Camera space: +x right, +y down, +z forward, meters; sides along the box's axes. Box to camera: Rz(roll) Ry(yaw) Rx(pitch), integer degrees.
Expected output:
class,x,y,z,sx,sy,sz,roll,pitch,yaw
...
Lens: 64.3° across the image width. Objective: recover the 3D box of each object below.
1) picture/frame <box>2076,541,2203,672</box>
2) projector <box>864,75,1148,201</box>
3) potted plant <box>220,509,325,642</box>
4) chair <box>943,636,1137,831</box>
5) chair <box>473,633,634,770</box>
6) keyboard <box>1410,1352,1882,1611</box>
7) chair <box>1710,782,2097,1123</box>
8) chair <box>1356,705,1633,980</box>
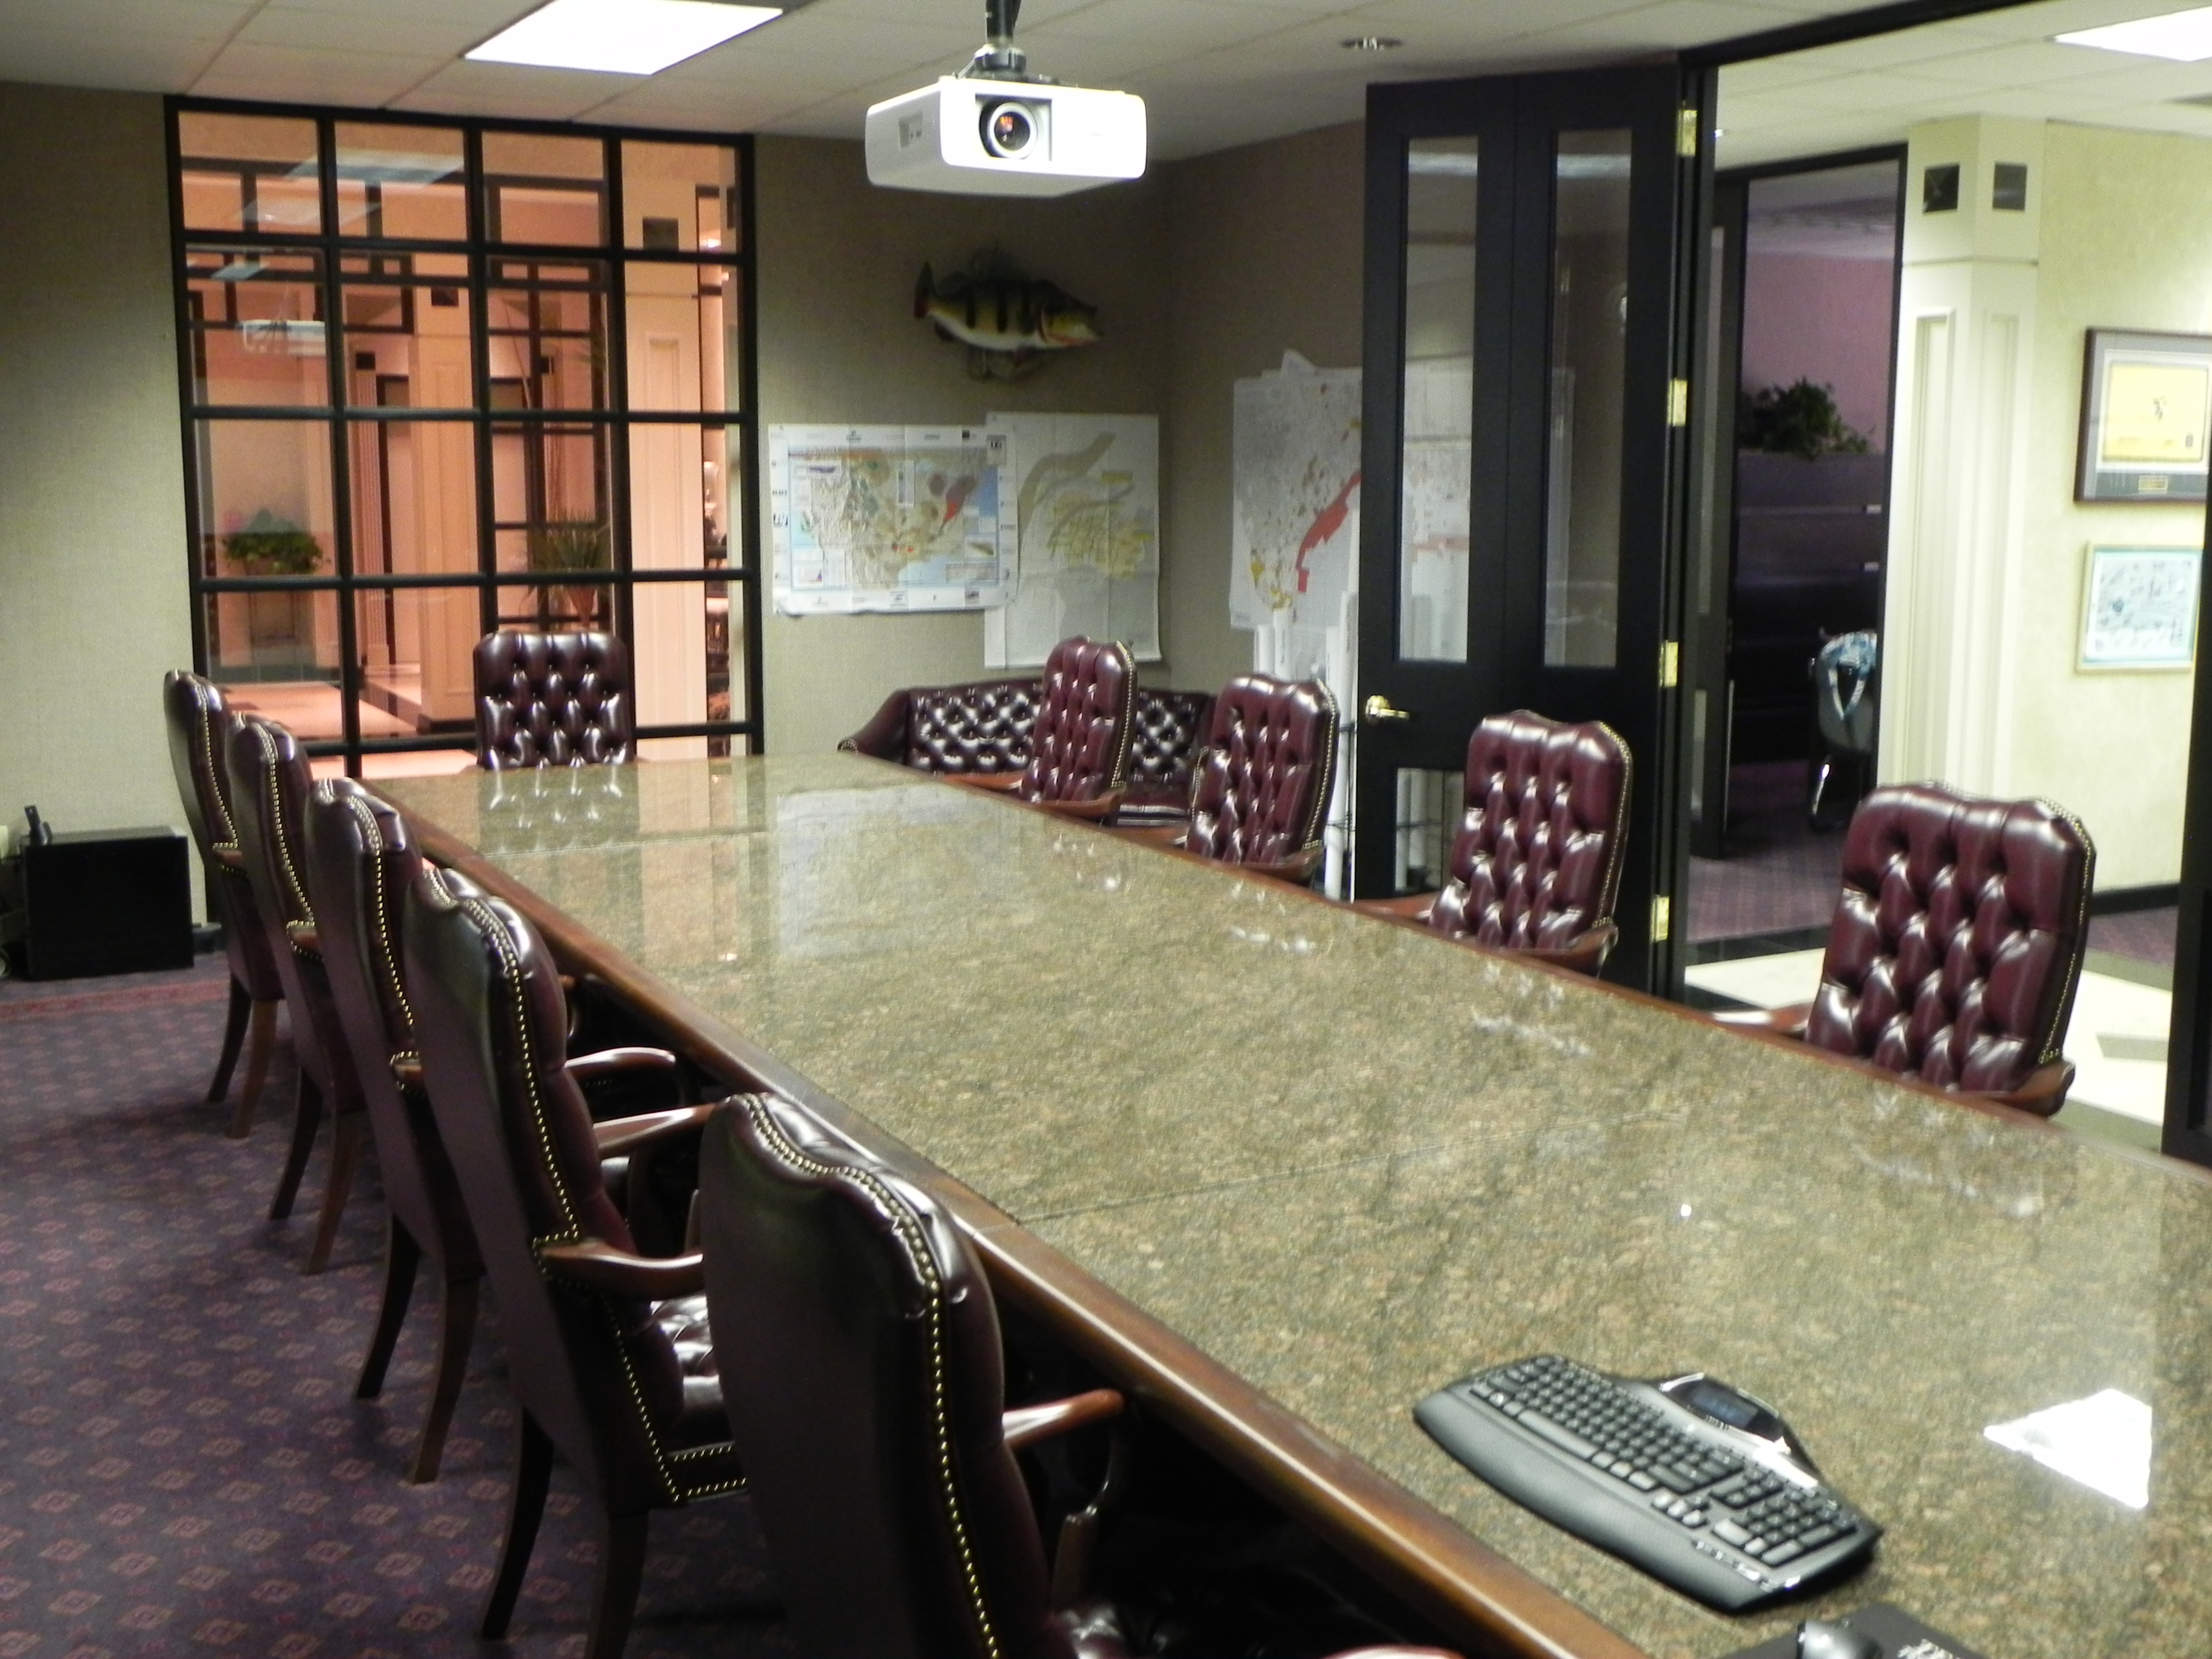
class,x,y,z,sx,sy,sz,roll,pitch,yaw
picture/frame,4.528,-0.958,7.701,0.744,0.566,0.112,-6,12,-29
projector,-0.215,-1.457,3.700,0.574,0.199,0.278,-1,12,-5
potted plant,-3.338,-1.027,6.992,0.376,0.578,0.204,-4,20,-24
chair,-0.238,-0.260,5.732,0.536,0.706,0.471,10,1,-42
chair,-2.091,-0.517,6.688,0.422,0.747,0.556,-3,9,-24
keyboard,0.523,0.640,1.731,0.354,0.071,0.327,-2,12,-10
chair,1.568,0.180,3.457,0.613,0.859,0.558,-4,12,-33
chair,1.022,-0.010,4.234,0.580,0.754,0.549,-5,11,-36
